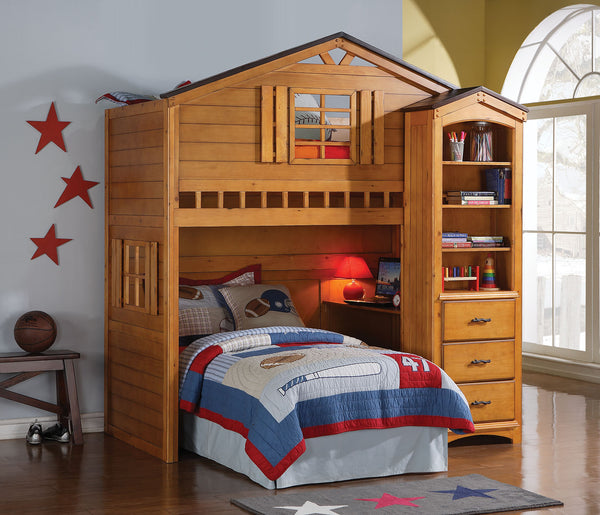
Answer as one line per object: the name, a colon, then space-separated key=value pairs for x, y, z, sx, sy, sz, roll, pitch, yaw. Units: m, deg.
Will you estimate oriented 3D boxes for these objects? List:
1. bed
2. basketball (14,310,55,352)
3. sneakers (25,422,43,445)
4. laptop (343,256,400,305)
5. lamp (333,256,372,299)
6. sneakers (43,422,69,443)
bed: x=-0.108 y=0.665 z=4.283 sx=1.345 sy=0.738 sz=1.880 roll=-3 pitch=9 yaw=-30
basketball: x=-1.775 y=0.498 z=4.403 sx=0.197 sy=0.287 sz=0.222 roll=0 pitch=0 yaw=26
sneakers: x=-1.760 y=1.166 z=4.368 sx=0.083 sy=0.060 sz=0.181 roll=0 pitch=4 yaw=-22
laptop: x=0.656 y=0.171 z=5.079 sx=0.477 sy=0.324 sz=0.505 roll=2 pitch=1 yaw=-20
lamp: x=0.426 y=0.171 z=5.312 sx=0.371 sy=0.295 sz=0.343 roll=-5 pitch=-7 yaw=31
sneakers: x=-1.636 y=1.169 z=4.412 sx=0.236 sy=0.067 sz=0.086 roll=3 pitch=1 yaw=42
